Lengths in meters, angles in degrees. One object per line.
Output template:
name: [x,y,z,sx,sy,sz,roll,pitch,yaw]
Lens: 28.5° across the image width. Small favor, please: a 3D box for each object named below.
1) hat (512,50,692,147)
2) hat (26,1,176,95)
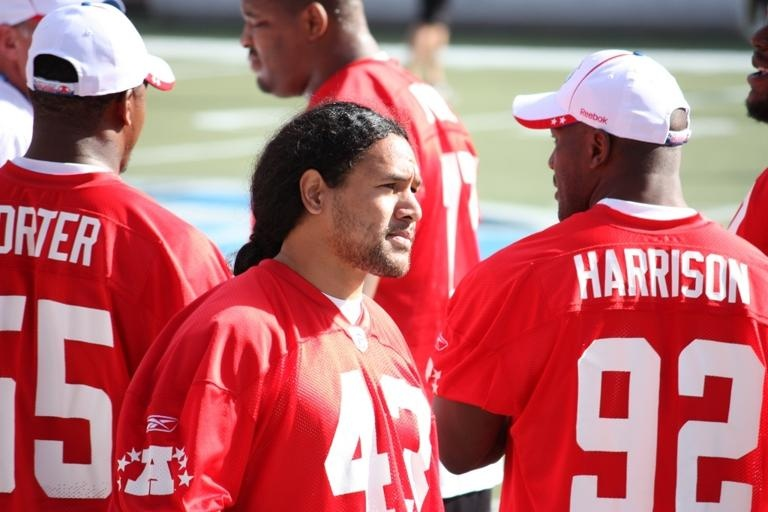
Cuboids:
hat: [0.857,-0.652,6.555,0.739,0.370,0.462,7,-8,9]
hat: [-1.231,-0.889,6.491,0.377,0.295,0.516,12,20,33]
